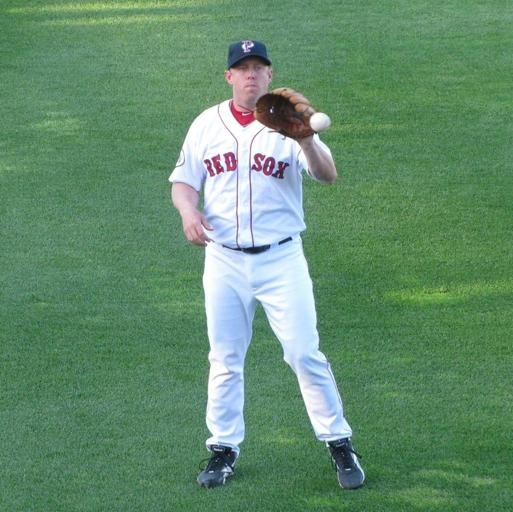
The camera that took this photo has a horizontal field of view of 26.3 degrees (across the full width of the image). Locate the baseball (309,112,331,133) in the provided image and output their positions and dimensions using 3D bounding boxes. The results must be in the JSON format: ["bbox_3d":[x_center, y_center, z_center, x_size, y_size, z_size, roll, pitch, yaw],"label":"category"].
[{"bbox_3d":[0.390,-0.804,6.583,0.108,0.135,0.112,-3,-1,9],"label":"baseball"}]

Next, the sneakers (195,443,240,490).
[{"bbox_3d":[-0.260,1.367,7.191,0.148,0.175,0.396,3,20,11],"label":"sneakers"}]

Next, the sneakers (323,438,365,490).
[{"bbox_3d":[0.592,1.337,7.082,0.150,0.166,0.408,-12,38,0],"label":"sneakers"}]

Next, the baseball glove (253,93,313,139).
[{"bbox_3d":[0.173,-0.883,6.779,0.379,0.218,0.104,39,30,20],"label":"baseball glove"}]

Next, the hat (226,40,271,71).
[{"bbox_3d":[-0.049,-1.316,7.129,0.270,0.184,0.196,-7,28,-2],"label":"hat"}]
